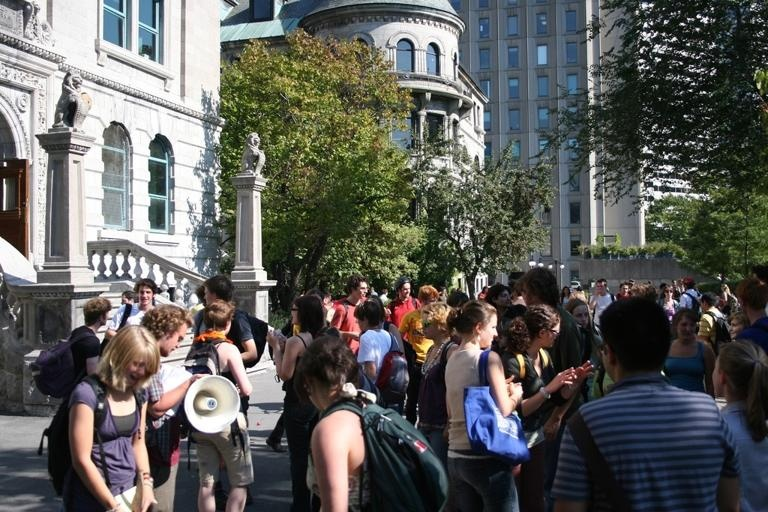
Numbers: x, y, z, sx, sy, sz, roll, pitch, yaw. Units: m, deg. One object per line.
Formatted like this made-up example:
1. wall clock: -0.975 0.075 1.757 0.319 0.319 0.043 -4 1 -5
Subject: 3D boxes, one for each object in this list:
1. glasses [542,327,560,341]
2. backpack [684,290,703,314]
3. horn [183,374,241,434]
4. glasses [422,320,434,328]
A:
1. glasses: 2.961 1.359 18.522 0.326 0.239 0.161 3 -4 -37
2. backpack: 8.457 1.241 28.806 0.639 0.737 0.384 2 5 -5
3. horn: -2.958 2.529 18.118 0.926 0.983 0.244 2 -3 -14
4. glasses: 0.860 1.298 20.217 0.164 0.066 0.178 2 -28 37
